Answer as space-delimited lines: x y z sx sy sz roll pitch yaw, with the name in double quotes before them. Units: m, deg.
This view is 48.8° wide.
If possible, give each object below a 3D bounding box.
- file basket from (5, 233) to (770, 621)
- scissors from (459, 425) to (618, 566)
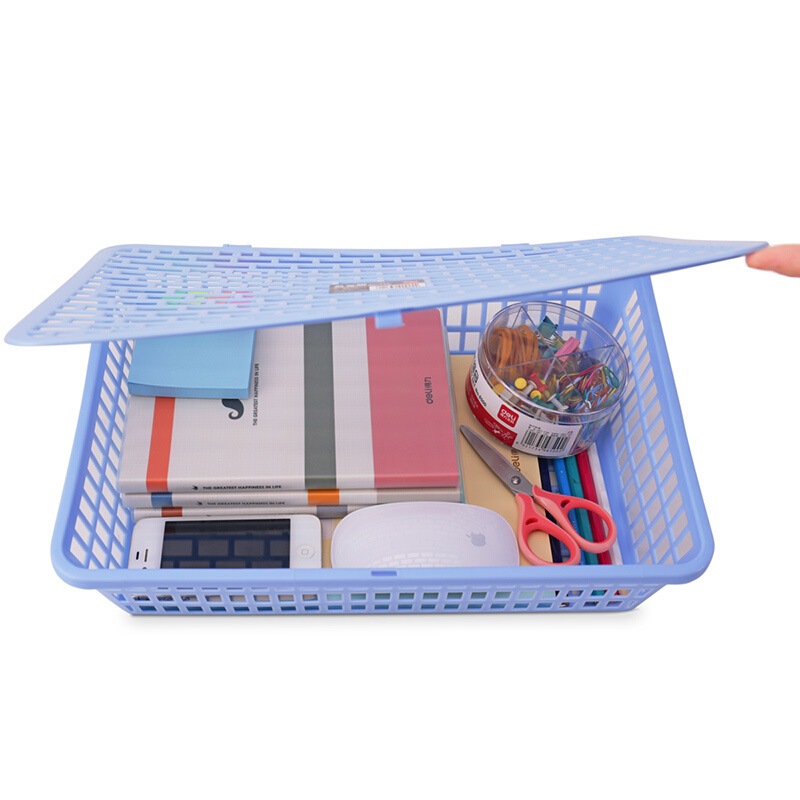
"file basket" -0.028 0.098 1.636 1.317 0.548 0.733 -1 -17 -2
"scissors" 0.225 0.142 1.424 0.142 0.250 0.018 -29 -40 -31
